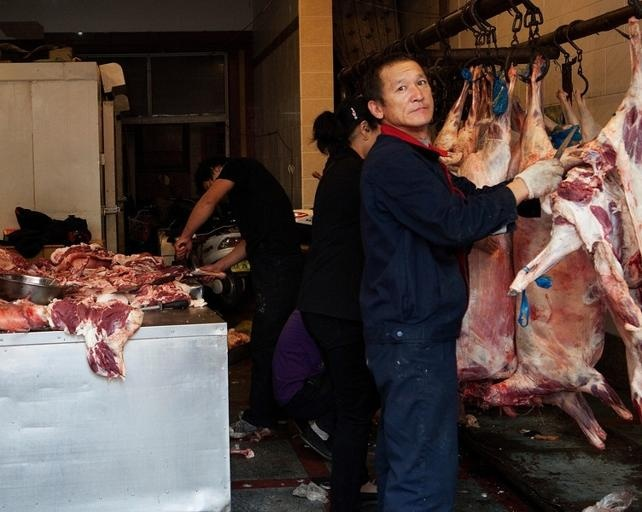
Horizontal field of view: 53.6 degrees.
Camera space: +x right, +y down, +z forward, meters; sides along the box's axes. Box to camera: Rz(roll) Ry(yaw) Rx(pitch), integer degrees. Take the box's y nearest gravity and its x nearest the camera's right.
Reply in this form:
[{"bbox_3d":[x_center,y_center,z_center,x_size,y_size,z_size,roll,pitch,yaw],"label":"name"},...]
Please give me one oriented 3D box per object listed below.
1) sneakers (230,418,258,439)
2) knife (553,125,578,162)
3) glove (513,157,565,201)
[{"bbox_3d":[-0.509,1.109,4.057,0.252,0.105,0.088,4,-5,-33],"label":"sneakers"},{"bbox_3d":[1.044,-0.479,2.731,0.048,0.027,0.355,5,37,39],"label":"knife"},{"bbox_3d":[0.825,-0.294,2.414,0.186,0.141,0.073,-7,8,-24],"label":"glove"}]
